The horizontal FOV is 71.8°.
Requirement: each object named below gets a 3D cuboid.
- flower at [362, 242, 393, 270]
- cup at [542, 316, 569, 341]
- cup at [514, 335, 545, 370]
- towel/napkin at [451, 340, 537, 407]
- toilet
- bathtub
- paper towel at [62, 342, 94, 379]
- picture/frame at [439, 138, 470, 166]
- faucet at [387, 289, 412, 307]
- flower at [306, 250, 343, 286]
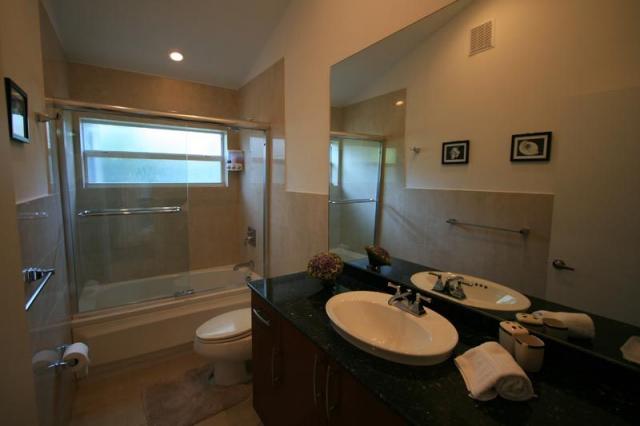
[{"bbox_3d":[0.382,0.294,2.886,0.161,0.096,0.143,27,5,35],"label":"flower"},{"bbox_3d":[1.217,0.598,2.268,0.098,0.095,0.098,2,9,0],"label":"cup"},{"bbox_3d":[1.068,0.710,2.320,0.154,0.175,0.156,-1,4,0],"label":"cup"},{"bbox_3d":[0.844,0.776,2.167,0.258,0.124,0.268,-15,17,4],"label":"towel/napkin"},{"bbox_3d":[-0.658,1.086,3.376,0.491,0.350,0.391,-7,-6,-5],"label":"toilet"},{"bbox_3d":[-1.353,0.686,4.093,1.543,0.567,0.452,6,7,-36],"label":"bathtub"},{"bbox_3d":[-1.511,0.884,2.729,0.143,0.136,0.133,-4,8,-26],"label":"paper towel"},{"bbox_3d":[0.780,-0.346,2.524,0.164,0.144,0.013,4,5,37],"label":"picture/frame"},{"bbox_3d":[0.437,0.504,2.603,0.207,0.118,0.062,0,-1,7],"label":"faucet"},{"bbox_3d":[0.021,0.358,2.933,0.208,0.205,0.208,-1,6,-22],"label":"flower"}]
